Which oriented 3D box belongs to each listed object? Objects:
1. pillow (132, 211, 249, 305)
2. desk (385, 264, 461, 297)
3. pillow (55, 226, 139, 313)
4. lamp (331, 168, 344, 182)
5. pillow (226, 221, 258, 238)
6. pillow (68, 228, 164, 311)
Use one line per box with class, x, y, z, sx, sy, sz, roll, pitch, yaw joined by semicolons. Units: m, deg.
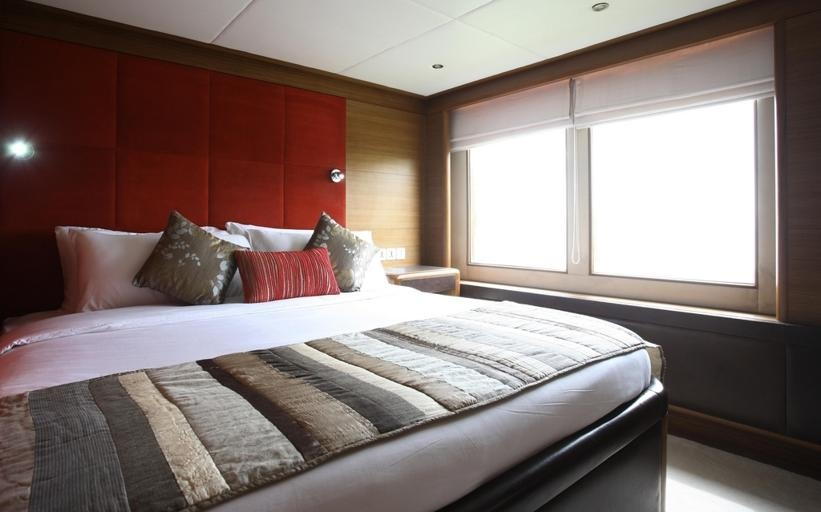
pillow;-1.611;0.016;3.402;0.763;0.201;0.755;12;38;-3
desk;0.125;0.133;4.704;0.503;0.450;0.360;-2;4;-45
pillow;-2.115;0.099;3.238;0.591;0.530;0.208;-2;-11;-21
lamp;-0.700;-0.771;4.673;0.048;0.120;0.125;4;-7;37
pillow;-1.361;-0.211;3.885;0.155;0.106;0.195;12;-1;16
pillow;-2.028;0.085;3.402;0.293;0.582;0.755;9;5;29
